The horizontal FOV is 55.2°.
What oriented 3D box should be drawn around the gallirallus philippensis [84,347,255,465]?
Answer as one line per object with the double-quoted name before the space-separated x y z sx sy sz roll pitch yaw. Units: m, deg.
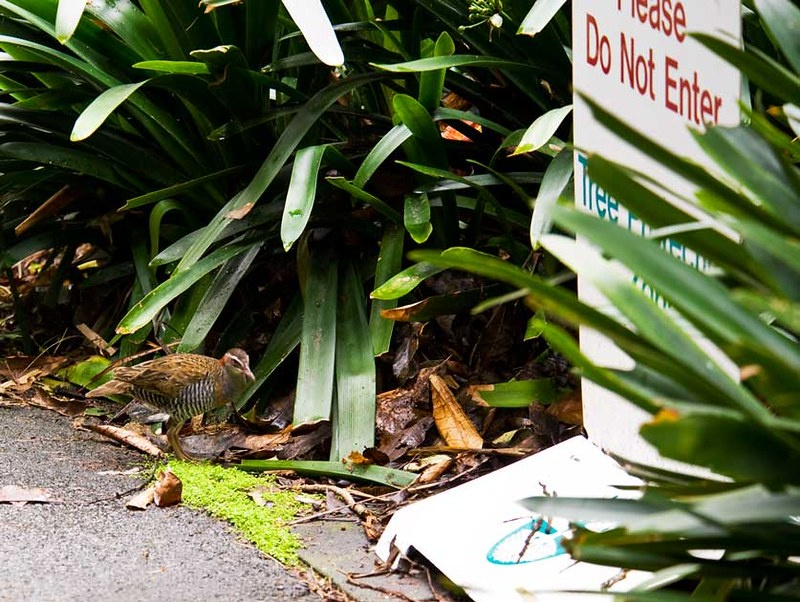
"gallirallus philippensis" -0.774 0.333 2.658 0.531 0.292 0.207 6 6 -6
